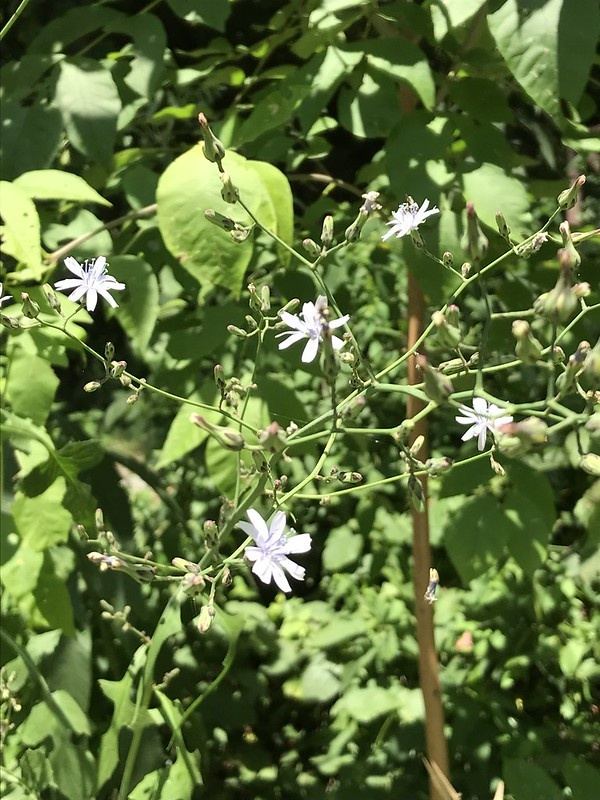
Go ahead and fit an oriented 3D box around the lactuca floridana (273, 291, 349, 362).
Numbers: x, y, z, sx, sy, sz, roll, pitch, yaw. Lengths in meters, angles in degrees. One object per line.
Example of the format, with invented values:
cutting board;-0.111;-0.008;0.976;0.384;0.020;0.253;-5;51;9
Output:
lactuca floridana;0.018;-0.112;1.063;0.101;0.029;0.094;6;-4;2

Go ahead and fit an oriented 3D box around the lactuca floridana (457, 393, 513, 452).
lactuca floridana;0.270;0.014;1.146;0.072;0.026;0.070;-9;49;48

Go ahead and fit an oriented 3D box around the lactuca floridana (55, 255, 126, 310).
lactuca floridana;-0.309;-0.183;1.178;0.086;0.039;0.081;-5;-11;0
